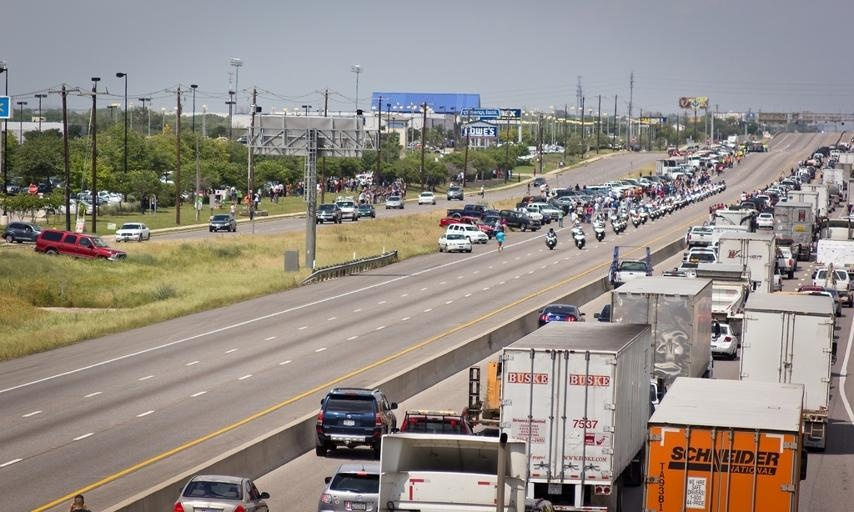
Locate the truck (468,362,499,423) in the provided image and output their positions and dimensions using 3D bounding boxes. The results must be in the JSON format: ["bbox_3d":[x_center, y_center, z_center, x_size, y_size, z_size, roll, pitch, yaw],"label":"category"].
[{"bbox_3d":[2.672,5.796,60.581,1.167,1.871,1.150,10,-9,-9],"label":"truck"}]

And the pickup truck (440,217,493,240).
[{"bbox_3d":[3.017,-2.368,110.642,4.458,1.522,1.809,8,13,39],"label":"pickup truck"}]

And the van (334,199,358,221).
[{"bbox_3d":[-7.650,-4.308,124.333,1.988,1.503,3.741,-1,-3,1],"label":"van"}]

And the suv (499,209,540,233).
[{"bbox_3d":[8.465,-3.186,118.600,3.021,1.432,1.792,3,12,10],"label":"suv"}]

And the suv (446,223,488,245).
[{"bbox_3d":[3.319,-1.819,107.925,3.177,1.321,1.542,1,9,14],"label":"suv"}]

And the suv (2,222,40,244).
[{"bbox_3d":[-30.474,-1.746,98.701,2.339,1.175,1.527,-3,5,6],"label":"suv"}]

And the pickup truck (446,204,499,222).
[{"bbox_3d":[4.158,-3.610,120.469,3.562,1.462,2.038,-3,8,3],"label":"pickup truck"}]

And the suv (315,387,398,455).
[{"bbox_3d":[-3.147,7.335,59.519,3.135,2.746,5.668,3,2,5],"label":"suv"}]

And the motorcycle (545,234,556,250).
[{"bbox_3d":[9.866,-1.163,104.425,0.754,1.316,1.685,1,7,6],"label":"motorcycle"}]

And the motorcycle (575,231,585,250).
[{"bbox_3d":[12.239,-1.339,105.398,0.758,1.423,1.419,1,7,6],"label":"motorcycle"}]

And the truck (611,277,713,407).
[{"bbox_3d":[11.348,3.780,59.940,4.062,5.273,5.946,0,-1,-6],"label":"truck"}]

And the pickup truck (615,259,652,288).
[{"bbox_3d":[13.129,1.481,84.453,1.889,1.468,3.939,0,11,11],"label":"pickup truck"}]

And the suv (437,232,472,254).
[{"bbox_3d":[2.244,-1.069,103.743,2.373,1.496,1.171,1,7,7],"label":"suv"}]

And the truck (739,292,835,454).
[{"bbox_3d":[16.430,3.932,59.859,3.646,4.346,6.875,3,11,11],"label":"truck"}]

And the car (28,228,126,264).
[{"bbox_3d":[-24.647,-0.511,93.542,6.642,2.476,2.556,2,5,10],"label":"car"}]
